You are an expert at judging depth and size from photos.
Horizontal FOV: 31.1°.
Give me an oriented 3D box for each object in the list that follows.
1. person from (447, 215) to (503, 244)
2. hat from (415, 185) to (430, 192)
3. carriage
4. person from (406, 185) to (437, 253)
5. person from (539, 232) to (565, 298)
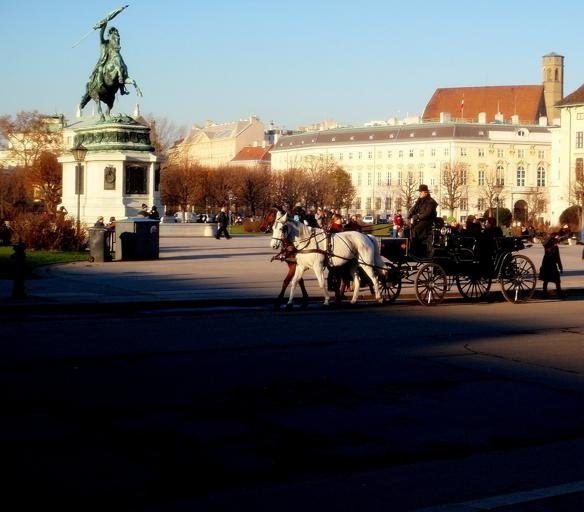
[{"bbox_3d":[3.550,-0.417,20.273,0.905,0.716,1.072,0,8,6],"label":"person"},{"bbox_3d":[2.322,-1.222,18.703,0.195,0.095,0.197,2,1,24],"label":"hat"},{"bbox_3d":[2.410,0.147,19.851,6.703,2.356,1.775,1,-3,-25],"label":"carriage"},{"bbox_3d":[2.347,-0.639,18.759,0.481,1.292,0.713,1,5,6],"label":"person"},{"bbox_3d":[5.234,0.141,21.165,0.466,1.237,0.365,2,12,23],"label":"person"}]
